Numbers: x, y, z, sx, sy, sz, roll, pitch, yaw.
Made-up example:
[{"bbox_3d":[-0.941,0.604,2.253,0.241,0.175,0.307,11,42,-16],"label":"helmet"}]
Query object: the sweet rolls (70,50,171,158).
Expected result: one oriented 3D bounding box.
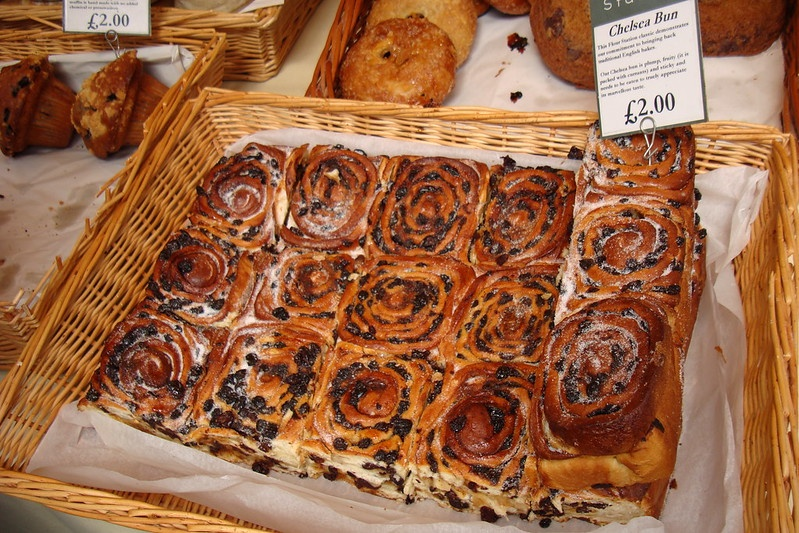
[{"bbox_3d":[-1.676,-0.962,4.535,0.496,0.623,0.202,40,8,20],"label":"sweet rolls"}]
